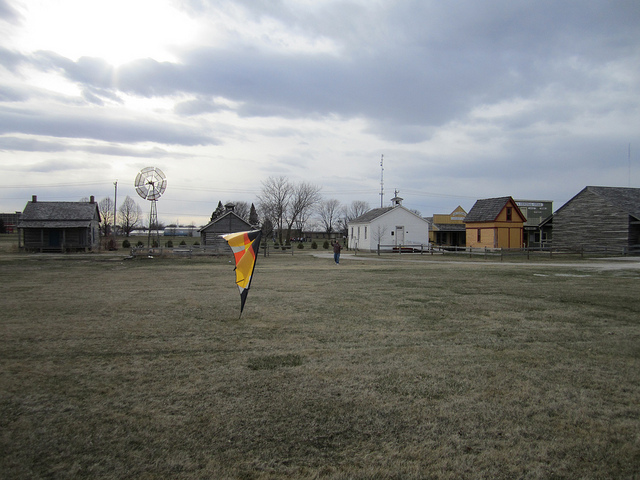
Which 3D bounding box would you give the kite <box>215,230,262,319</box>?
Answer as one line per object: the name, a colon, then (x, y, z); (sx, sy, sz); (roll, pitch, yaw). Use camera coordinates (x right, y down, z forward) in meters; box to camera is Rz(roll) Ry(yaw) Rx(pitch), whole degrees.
kite: (-1.651, 0.790, 10.496); (0.724, 1.965, 1.162); (-1, 13, -4)
